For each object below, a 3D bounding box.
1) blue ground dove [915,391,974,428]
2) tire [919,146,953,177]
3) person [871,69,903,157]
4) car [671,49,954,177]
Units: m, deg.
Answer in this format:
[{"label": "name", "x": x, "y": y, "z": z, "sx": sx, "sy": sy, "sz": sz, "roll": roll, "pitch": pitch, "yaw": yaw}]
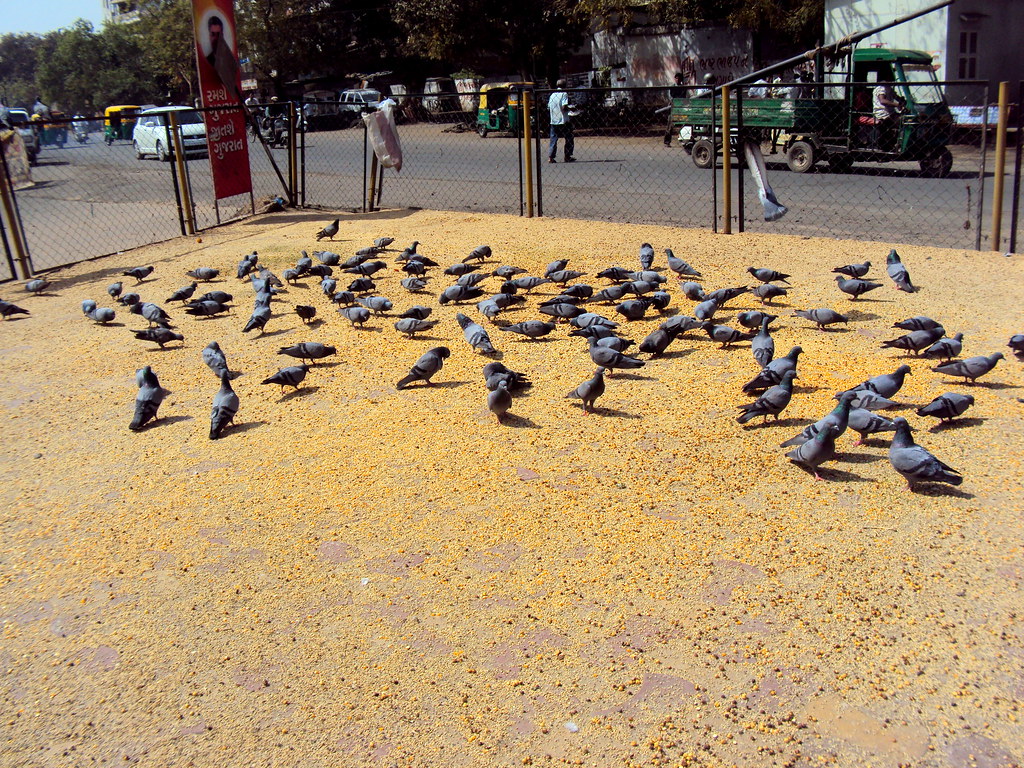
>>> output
[{"label": "blue ground dove", "x": 3.857, "y": 0.204, "z": 7.263, "sx": 0.522, "sy": 0.239, "sz": 0.231, "roll": 0, "pitch": 19, "yaw": -15}, {"label": "tire", "x": 10.327, "y": -5.449, "z": 19.748, "sx": 0.655, "sy": 0.729, "sz": 0.842, "roll": 2, "pitch": 11, "yaw": 34}, {"label": "person", "x": 9.268, "y": -6.598, "z": 20.005, "sx": 0.749, "sy": 1.506, "sz": 0.714, "roll": 9, "pitch": 23, "yaw": 36}, {"label": "car", "x": 7.653, "y": -7.323, "z": 21.616, "sx": 6.892, "sy": 2.847, "sz": 2.864, "roll": 11, "pitch": 27, "yaw": 31}]
